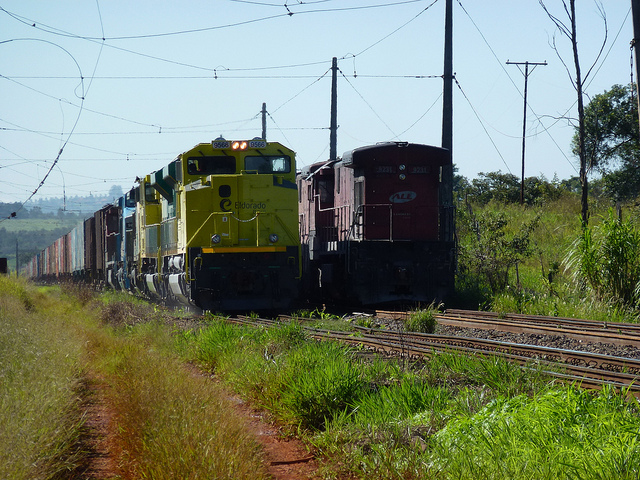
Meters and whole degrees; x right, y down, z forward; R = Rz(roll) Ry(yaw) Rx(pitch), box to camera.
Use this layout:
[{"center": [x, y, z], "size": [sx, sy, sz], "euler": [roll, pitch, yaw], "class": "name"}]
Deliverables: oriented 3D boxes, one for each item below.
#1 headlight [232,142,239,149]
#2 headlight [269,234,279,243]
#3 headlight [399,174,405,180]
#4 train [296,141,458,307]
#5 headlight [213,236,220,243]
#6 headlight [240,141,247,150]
[{"center": [-1.942, -2.183, 15.839], "size": [0.132, 0.172, 0.036], "euler": [1, 0, -7], "class": "headlight"}, {"center": [-1.003, -0.045, 15.652], "size": [0.179, 0.189, 0.332], "euler": [-1, 3, 36], "class": "headlight"}, {"center": [2.000, -1.547, 16.782], "size": [0.111, 0.144, 0.029], "euler": [-1, -1, -8], "class": "headlight"}, {"center": [1.938, -0.342, 17.676], "size": [3.191, 4.921, 4.415], "euler": [2, -2, -14], "class": "train"}, {"center": [-2.260, -0.019, 15.071], "size": [0.042, 0.141, 0.179], "euler": [0, 4, 38], "class": "headlight"}, {"center": [-1.762, -2.179, 15.885], "size": [0.164, 0.172, 0.032], "euler": [-3, 3, -12], "class": "headlight"}]
